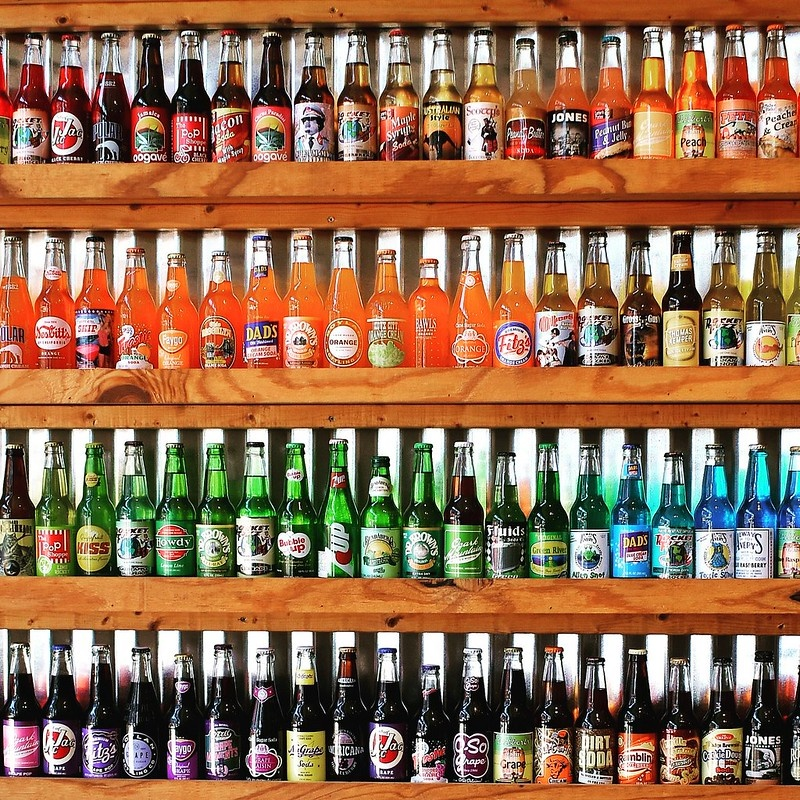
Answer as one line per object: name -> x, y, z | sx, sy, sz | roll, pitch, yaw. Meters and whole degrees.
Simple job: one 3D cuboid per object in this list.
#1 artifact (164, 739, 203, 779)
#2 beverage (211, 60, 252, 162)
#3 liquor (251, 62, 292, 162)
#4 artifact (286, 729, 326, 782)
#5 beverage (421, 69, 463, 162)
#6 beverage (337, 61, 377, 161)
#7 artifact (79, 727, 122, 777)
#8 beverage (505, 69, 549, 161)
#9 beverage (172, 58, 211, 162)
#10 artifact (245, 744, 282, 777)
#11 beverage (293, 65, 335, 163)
artifact -> -0.372, 0.616, 2.372 | 0.064, 0.072, 0.063 | 0, -7, -2
beverage -> -0.293, -0.484, 2.412 | 0.069, 0.252, 0.065 | -1, -36, -7
liquor -> -0.223, -0.479, 2.409 | 0.069, 0.244, 0.072 | 0, -36, -9
artifact -> -0.161, 0.608, 2.360 | 0.077, 0.087, 0.078 | -3, -5, 27
beverage -> 0.071, -0.494, 2.407 | 0.073, 0.170, 0.070 | -8, -35, 2
beverage -> -0.075, -0.488, 2.410 | 0.073, 0.230, 0.086 | -4, -36, -4
artifact -> -0.519, 0.616, 2.417 | 0.075, 0.085, 0.076 | -1, -9, 10
beverage -> 0.215, -0.484, 2.401 | 0.083, 0.200, 0.058 | -10, -36, 6
beverage -> -0.365, -0.489, 2.426 | 0.067, 0.251, 0.082 | 1, -36, -10
artifact -> -0.232, 0.619, 2.363 | 0.056, 0.092, 0.058 | -2, -2, -14
beverage -> -0.148, -0.482, 2.399 | 0.072, 0.234, 0.066 | -1, -36, -7
